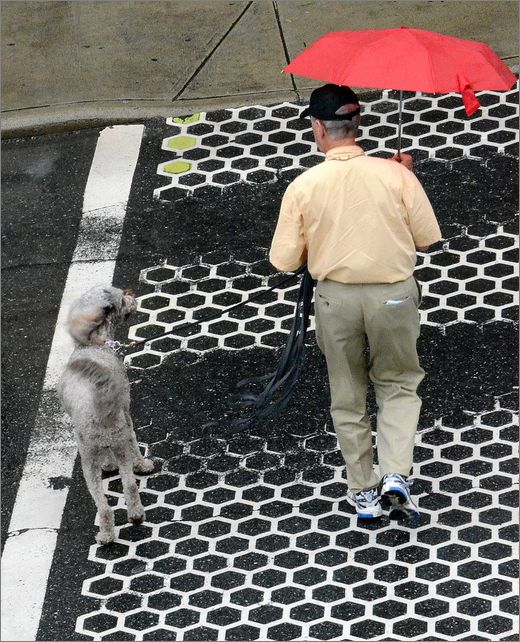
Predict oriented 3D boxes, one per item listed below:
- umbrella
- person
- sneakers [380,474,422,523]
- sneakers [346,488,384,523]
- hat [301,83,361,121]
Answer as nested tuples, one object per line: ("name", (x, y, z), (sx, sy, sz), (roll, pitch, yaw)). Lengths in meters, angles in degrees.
("umbrella", (0.814, -1.195, 7.510), (0.819, 0.457, 0.715), (0, 32, 3))
("person", (0.570, -0.015, 7.389), (0.773, 2.261, 1.248), (-17, 38, -18))
("sneakers", (0.753, 0.949, 7.451), (0.136, 0.328, 0.145), (-10, 55, 20))
("sneakers", (0.584, 1.011, 7.632), (0.120, 0.115, 0.252), (-6, 35, -8))
("hat", (0.376, -1.149, 7.204), (0.264, 0.118, 0.176), (7, 36, 14))
